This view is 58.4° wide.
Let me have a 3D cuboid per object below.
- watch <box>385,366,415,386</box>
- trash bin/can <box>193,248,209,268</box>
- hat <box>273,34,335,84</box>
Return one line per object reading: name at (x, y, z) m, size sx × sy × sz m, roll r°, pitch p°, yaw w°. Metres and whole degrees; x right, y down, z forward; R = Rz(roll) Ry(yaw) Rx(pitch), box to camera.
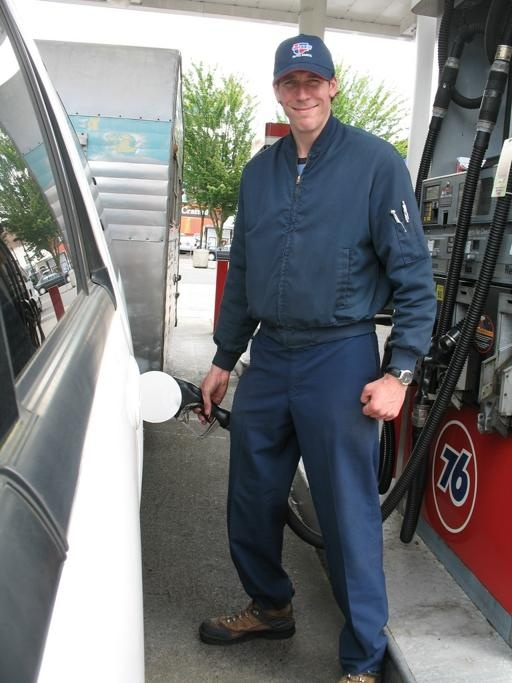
watch at (0.486, 0.100, 1.551) m, size 0.079 × 0.053 × 0.084 m, roll 12°, pitch -4°, yaw -16°
trash bin/can at (-2.586, -4.107, 22.184) m, size 0.915 × 1.154 × 0.918 m, roll 0°, pitch 5°, yaw 4°
hat at (0.162, -0.974, 1.579) m, size 0.141 × 0.109 × 0.197 m, roll 0°, pitch 19°, yaw 11°
